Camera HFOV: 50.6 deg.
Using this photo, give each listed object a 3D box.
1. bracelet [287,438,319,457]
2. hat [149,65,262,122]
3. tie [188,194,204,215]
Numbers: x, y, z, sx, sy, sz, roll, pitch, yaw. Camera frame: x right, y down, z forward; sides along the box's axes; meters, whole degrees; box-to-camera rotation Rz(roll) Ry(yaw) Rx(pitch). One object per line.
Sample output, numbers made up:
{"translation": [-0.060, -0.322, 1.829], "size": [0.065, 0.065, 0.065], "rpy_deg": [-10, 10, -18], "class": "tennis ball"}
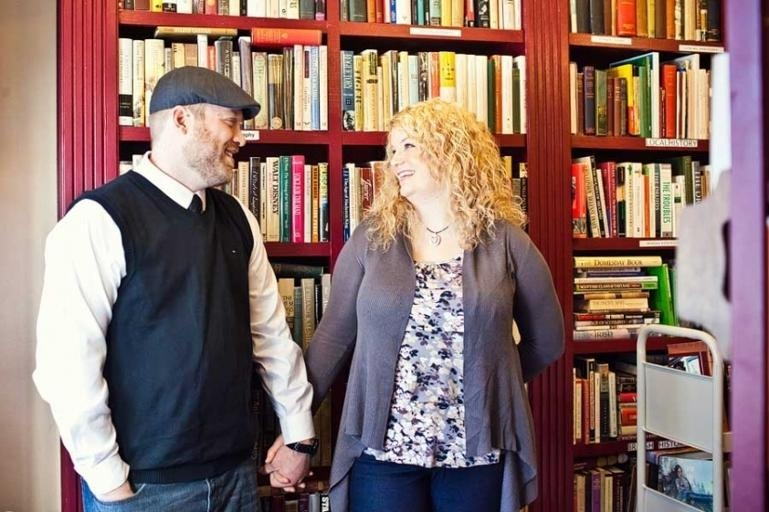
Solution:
{"translation": [-0.309, 0.763, 3.216], "size": [0.089, 0.058, 0.072], "rpy_deg": [6, 1, -8], "class": "bracelet"}
{"translation": [-0.675, -0.653, 3.147], "size": [0.444, 0.228, 0.296], "rpy_deg": [-2, 0, 24], "class": "hat"}
{"translation": [-0.691, -0.195, 2.992], "size": [0.045, 0.069, 0.016], "rpy_deg": [4, -2, -37], "class": "tie"}
